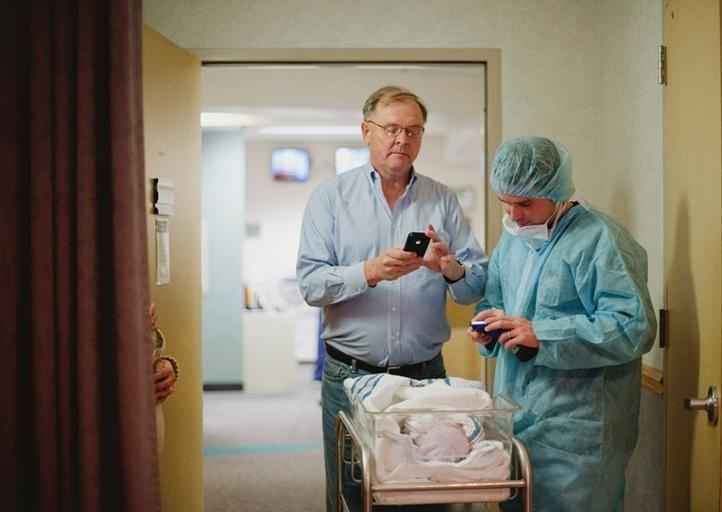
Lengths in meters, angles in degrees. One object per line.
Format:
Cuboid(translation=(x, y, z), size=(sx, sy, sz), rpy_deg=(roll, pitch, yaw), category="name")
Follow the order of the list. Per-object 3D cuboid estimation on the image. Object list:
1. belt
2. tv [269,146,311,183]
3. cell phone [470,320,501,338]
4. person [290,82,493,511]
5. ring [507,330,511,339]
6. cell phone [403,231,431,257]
Cuboid(translation=(0.082, 0.375, 2.375), size=(0.425, 0.139, 0.210), rpy_deg=(-2, 0, 4), category="belt")
Cuboid(translation=(-0.389, -0.497, 3.695), size=(0.225, 0.197, 0.127), rpy_deg=(-2, 5, -20), category="tv")
Cuboid(translation=(0.357, 0.212, 1.926), size=(0.039, 0.031, 0.142), rpy_deg=(-25, -4, -9), category="cell phone")
Cuboid(translation=(0.076, 0.071, 2.466), size=(0.645, 1.668, 0.587), rpy_deg=(0, -1, -15), category="person")
Cuboid(translation=(0.416, 0.221, 1.889), size=(0.005, 0.015, 0.014), rpy_deg=(-25, 33, -33), category="ring")
Cuboid(translation=(0.192, -0.035, 2.151), size=(0.074, 0.077, 0.180), rpy_deg=(-2, 0, 22), category="cell phone")
